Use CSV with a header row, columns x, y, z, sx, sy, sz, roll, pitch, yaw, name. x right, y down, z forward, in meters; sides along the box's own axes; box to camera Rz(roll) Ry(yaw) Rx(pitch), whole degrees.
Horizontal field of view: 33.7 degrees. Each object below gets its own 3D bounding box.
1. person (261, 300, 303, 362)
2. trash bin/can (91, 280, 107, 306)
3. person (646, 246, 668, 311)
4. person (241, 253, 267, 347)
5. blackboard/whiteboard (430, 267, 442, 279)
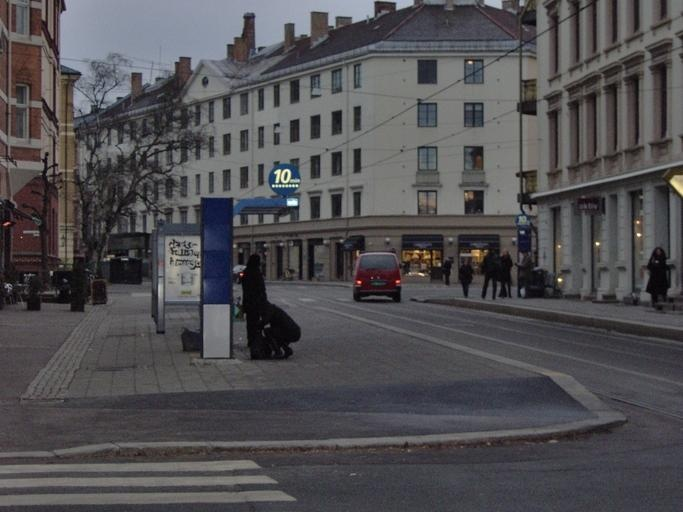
x,y,z,sx,sy,sz,roll,pitch,yaw,name
-1.311,1.502,22.905,1.047,1.231,0.789,1,-18,14,person
-8.913,1.148,41.285,0.630,1.162,1.240,-1,-2,-8,trash bin/can
9.541,0.648,33.964,0.633,1.823,1.539,0,-2,17,person
-1.751,0.935,22.789,0.498,1.961,0.743,1,-1,-6,person
6.019,1.109,70.800,0.457,0.838,1.026,2,-2,-43,blackboard/whiteboard
